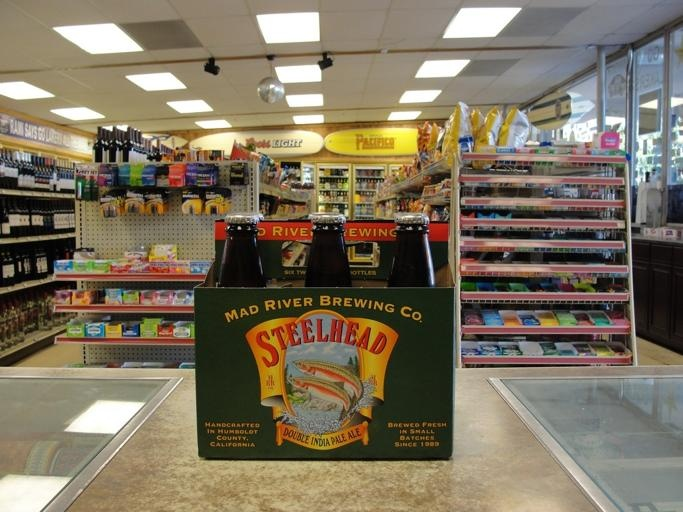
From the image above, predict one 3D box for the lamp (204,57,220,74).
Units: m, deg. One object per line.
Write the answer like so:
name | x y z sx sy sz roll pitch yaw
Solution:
lamp | -1.621 -2.369 6.356 0.061 0.167 0.148 -54 3 -38
